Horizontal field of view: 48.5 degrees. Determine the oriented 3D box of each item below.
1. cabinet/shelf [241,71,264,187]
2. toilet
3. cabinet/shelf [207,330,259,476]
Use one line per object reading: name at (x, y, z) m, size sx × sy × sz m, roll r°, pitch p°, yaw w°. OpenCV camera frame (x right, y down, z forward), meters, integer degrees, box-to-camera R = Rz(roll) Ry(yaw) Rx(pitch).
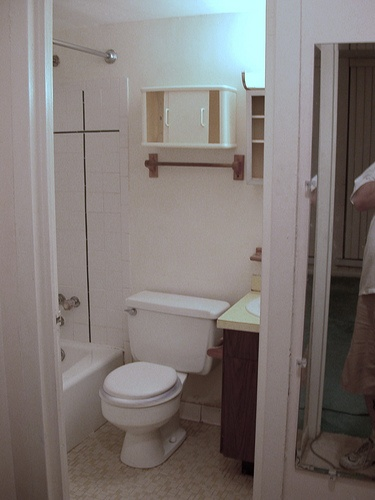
cabinet/shelf at (0.336, -0.553, 1.923) m, size 0.083 × 0.464 × 0.168 m, roll -7°, pitch 12°, yaw -39°
toilet at (-0.110, 0.659, 2.067) m, size 0.554 × 0.764 × 0.557 m, roll 2°, pitch 5°, yaw 20°
cabinet/shelf at (0.239, 0.567, 1.834) m, size 0.173 × 0.461 × 0.189 m, roll -1°, pitch -4°, yaw 16°
